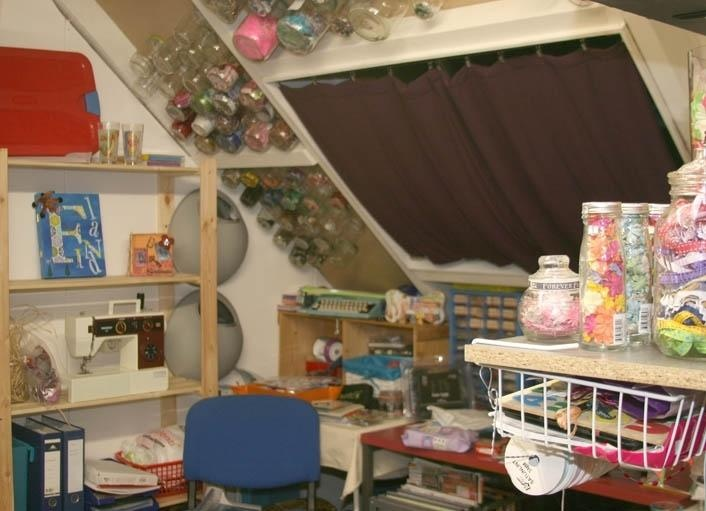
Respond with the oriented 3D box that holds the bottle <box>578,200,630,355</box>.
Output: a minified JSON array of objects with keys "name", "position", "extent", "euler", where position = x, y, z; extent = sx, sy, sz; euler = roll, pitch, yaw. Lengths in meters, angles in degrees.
[{"name":"bottle","position":[0.521,0.038,1.259],"extent":[0.097,0.322,0.071],"euler":[-4,-1,20]}]

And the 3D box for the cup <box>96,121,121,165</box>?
[{"name":"cup","position":[-1.246,-0.571,3.065],"extent":[0.097,0.181,0.188],"euler":[-3,-1,-24]}]

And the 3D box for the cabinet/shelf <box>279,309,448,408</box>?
[{"name":"cabinet/shelf","position":[0.159,0.570,4.139],"extent":[1.333,0.423,0.750],"euler":[3,7,30]}]

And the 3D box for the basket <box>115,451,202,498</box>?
[{"name":"basket","position":[-1.016,1.156,3.160],"extent":[0.397,0.165,0.264],"euler":[7,-10,-39]}]

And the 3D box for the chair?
[{"name":"chair","position":[-0.416,0.942,2.987],"extent":[0.552,0.658,0.533],"euler":[0,-12,2]}]
